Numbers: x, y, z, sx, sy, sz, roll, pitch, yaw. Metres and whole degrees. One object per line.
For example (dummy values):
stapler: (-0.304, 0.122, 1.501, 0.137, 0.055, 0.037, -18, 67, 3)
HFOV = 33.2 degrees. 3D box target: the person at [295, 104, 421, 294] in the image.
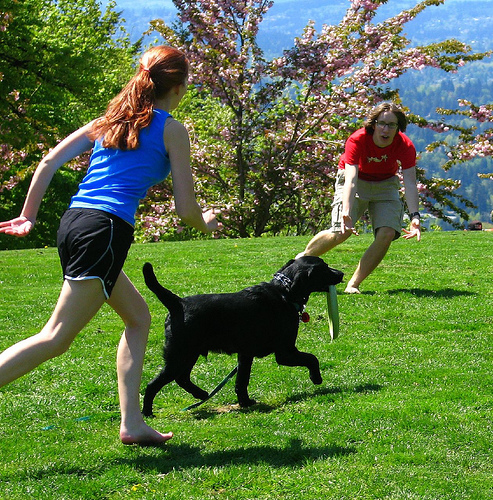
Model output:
person: (1.274, -0.445, 8.848, 1.087, 2.192, 1.480, -1, 13, 4)
